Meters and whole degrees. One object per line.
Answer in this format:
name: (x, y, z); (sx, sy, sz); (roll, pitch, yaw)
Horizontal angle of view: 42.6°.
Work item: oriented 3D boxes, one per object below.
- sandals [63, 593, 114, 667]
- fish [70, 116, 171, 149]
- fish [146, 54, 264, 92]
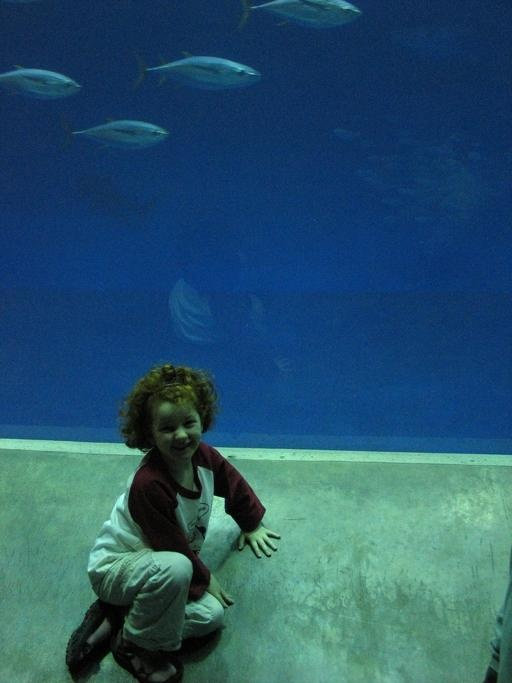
sandals: (-0.612, 1.106, 2.532); (0.148, 0.110, 0.300); (-11, 36, 29)
fish: (-0.801, -1.302, 4.105); (0.703, 0.222, 0.164); (1, 28, 6)
fish: (-0.296, -1.635, 4.018); (0.748, 0.084, 0.241); (2, 34, 10)
